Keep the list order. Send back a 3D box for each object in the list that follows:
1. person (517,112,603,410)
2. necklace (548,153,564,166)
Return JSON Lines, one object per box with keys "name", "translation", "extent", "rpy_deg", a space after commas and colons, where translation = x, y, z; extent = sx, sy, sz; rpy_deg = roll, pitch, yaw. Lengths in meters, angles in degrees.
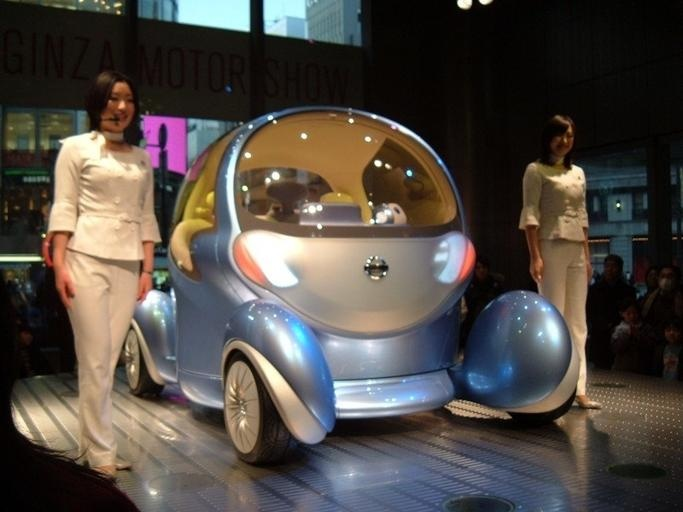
{"name": "person", "translation": [1.342, 0.039, 3.761], "extent": [0.476, 1.786, 0.393], "rpy_deg": [0, 2, 7]}
{"name": "necklace", "translation": [1.333, -0.604, 3.812], "extent": [0.065, 0.060, 0.072], "rpy_deg": [-6, 14, -10]}
